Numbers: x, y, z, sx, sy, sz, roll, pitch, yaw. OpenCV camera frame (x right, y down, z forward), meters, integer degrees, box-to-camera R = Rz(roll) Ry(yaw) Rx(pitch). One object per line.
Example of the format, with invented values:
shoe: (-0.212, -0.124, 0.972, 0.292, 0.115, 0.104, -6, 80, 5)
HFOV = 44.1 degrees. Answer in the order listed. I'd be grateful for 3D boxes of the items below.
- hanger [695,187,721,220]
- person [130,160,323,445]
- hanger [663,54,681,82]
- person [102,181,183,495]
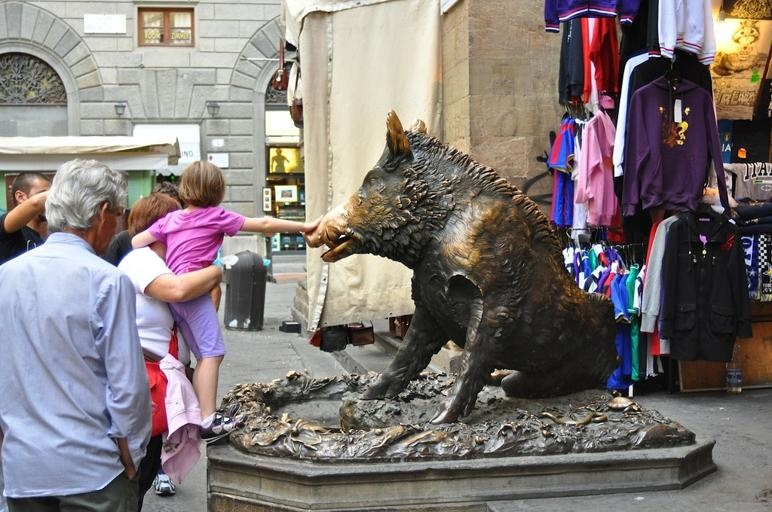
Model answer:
hanger: (2.994, -0.495, 8.914, 0.234, 0.251, 0.219, 8, -3, -15)
person: (-1.151, 0.308, 6.998, 1.391, 2.035, 0.623, -1, 0, 16)
hanger: (2.615, -1.700, 8.692, 0.178, 0.150, 0.082, -2, 1, -34)
person: (-2.204, 0.664, 8.391, 1.095, 2.570, 0.888, 0, 1, -2)
